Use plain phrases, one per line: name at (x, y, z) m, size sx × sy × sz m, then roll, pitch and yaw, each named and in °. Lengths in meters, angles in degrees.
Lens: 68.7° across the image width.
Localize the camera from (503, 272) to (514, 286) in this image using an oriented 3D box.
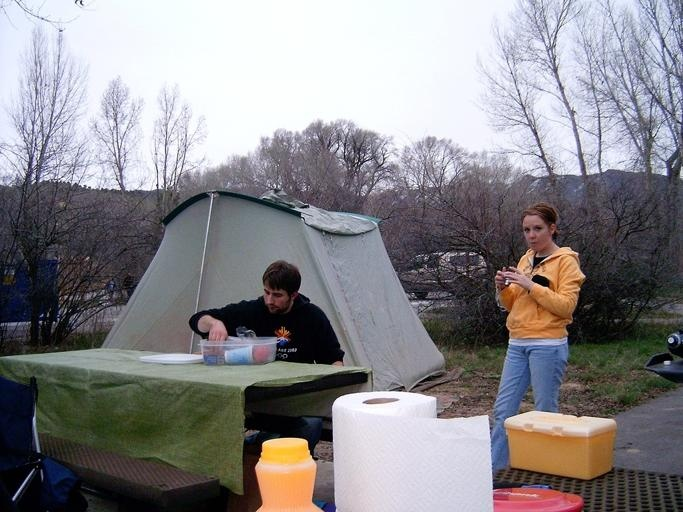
camera at (1.137, 0.147, 3.392) m, size 0.040 × 0.091 × 0.087 m, roll -2°, pitch 0°, yaw 7°

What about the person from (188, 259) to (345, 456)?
person at (-0.491, 0.845, 3.837) m, size 1.119 × 1.526 × 0.770 m, roll 0°, pitch 6°, yaw -10°

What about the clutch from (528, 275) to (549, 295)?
clutch at (1.390, 0.189, 3.445) m, size 0.130 × 0.077 × 0.137 m, roll 17°, pitch -8°, yaw -37°
